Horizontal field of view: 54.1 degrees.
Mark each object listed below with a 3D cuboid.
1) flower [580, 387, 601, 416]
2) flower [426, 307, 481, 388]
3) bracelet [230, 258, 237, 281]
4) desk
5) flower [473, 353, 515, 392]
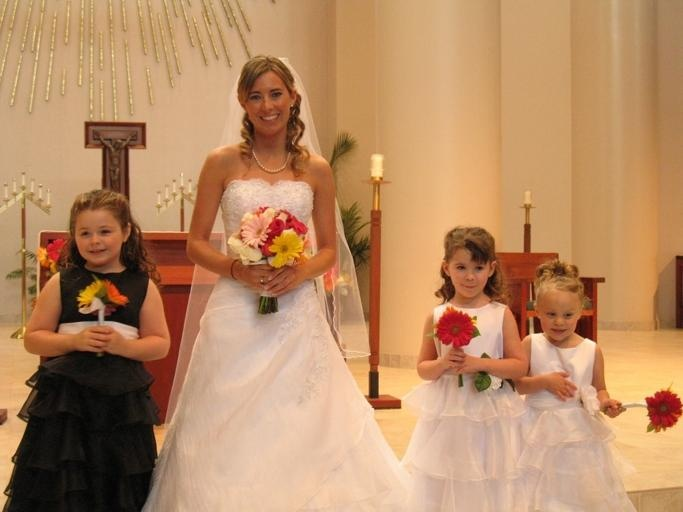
[{"bbox_3d":[1.092,0.638,2.957,0.037,0.111,0.099,-9,-7,-4],"label":"flower"},{"bbox_3d":[0.509,0.400,2.977,0.197,0.364,0.236,-1,4,8],"label":"flower"},{"bbox_3d":[-0.473,0.061,2.937,0.015,0.065,0.065,0,-7,8],"label":"bracelet"},{"bbox_3d":[2.021,0.450,6.600,0.996,0.991,0.651,0,-1,-15],"label":"desk"},{"bbox_3d":[0.647,0.516,2.953,0.181,0.156,0.065,-5,-11,11],"label":"flower"}]
